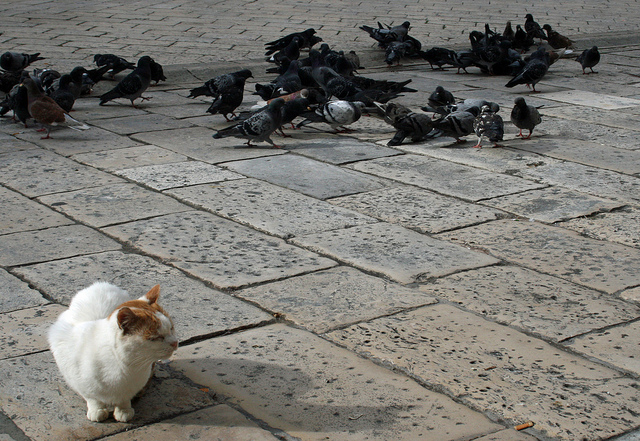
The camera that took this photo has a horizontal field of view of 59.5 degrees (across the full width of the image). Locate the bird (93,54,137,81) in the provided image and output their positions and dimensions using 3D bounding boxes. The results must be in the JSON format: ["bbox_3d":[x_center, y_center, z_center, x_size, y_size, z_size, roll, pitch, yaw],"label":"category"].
[{"bbox_3d":[-3.826,-2.919,10.544,0.886,0.330,0.297,4,32,5],"label":"bird"}]

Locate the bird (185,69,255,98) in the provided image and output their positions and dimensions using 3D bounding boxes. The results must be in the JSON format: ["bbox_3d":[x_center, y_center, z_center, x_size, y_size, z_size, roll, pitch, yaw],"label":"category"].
[{"bbox_3d":[-1.530,-2.105,8.786,1.266,0.359,0.285,1,23,13],"label":"bird"}]

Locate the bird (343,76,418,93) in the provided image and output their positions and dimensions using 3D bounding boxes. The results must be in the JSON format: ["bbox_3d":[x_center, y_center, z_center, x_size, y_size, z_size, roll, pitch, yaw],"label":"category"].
[{"bbox_3d":[0.940,-2.195,9.082,1.066,0.259,0.848,0,17,2],"label":"bird"}]

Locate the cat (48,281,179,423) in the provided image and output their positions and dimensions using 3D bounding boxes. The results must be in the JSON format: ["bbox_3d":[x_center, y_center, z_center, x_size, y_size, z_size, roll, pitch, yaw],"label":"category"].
[{"bbox_3d":[-0.941,0.782,3.024,0.749,0.512,0.846,4,-13,-7],"label":"cat"}]

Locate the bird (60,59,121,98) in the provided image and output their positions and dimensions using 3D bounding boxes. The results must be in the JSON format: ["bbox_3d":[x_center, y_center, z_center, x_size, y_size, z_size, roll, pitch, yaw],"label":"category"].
[{"bbox_3d":[-3.957,-2.546,10.458,0.656,1.094,0.349,-34,75,-11],"label":"bird"}]

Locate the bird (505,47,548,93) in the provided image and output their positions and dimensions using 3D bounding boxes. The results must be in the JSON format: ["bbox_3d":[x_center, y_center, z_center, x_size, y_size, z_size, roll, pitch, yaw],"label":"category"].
[{"bbox_3d":[3.782,-2.724,9.995,0.428,0.691,0.706,20,30,35],"label":"bird"}]

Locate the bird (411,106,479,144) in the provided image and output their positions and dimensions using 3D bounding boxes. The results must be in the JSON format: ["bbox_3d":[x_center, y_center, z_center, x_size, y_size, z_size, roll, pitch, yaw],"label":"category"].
[{"bbox_3d":[1.687,-1.264,7.505,0.804,0.470,0.534,3,22,9],"label":"bird"}]

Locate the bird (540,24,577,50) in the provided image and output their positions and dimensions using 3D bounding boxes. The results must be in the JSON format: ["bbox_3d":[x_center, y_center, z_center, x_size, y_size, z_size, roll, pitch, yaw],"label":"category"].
[{"bbox_3d":[5.980,-4.597,14.073,0.638,0.592,0.573,3,23,9],"label":"bird"}]

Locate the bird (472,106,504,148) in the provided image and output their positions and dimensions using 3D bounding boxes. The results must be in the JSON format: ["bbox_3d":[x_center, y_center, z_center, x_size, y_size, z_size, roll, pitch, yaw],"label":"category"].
[{"bbox_3d":[2.230,-1.209,7.368,0.409,0.484,0.564,5,23,12],"label":"bird"}]

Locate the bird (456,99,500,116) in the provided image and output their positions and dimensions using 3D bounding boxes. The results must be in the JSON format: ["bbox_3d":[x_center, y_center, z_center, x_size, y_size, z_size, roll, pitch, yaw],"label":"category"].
[{"bbox_3d":[2.183,-1.560,7.654,0.501,0.087,0.301,2,8,-36],"label":"bird"}]

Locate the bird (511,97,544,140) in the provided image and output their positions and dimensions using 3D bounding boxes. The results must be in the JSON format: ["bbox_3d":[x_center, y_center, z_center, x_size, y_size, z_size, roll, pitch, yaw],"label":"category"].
[{"bbox_3d":[2.815,-1.387,7.600,0.328,0.571,0.528,13,27,25],"label":"bird"}]

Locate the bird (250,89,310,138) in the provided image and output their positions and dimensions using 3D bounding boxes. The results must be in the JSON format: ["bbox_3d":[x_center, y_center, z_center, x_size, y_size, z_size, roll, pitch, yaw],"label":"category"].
[{"bbox_3d":[-0.660,-1.484,7.594,0.503,0.571,1.021,29,28,31],"label":"bird"}]

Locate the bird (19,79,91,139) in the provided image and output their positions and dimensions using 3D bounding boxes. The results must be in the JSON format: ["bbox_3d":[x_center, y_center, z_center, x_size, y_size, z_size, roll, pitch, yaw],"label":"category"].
[{"bbox_3d":[-3.478,-1.490,7.556,1.265,0.645,0.412,21,42,25],"label":"bird"}]

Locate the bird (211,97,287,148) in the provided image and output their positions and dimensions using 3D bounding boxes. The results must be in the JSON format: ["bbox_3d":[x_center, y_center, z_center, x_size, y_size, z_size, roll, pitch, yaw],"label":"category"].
[{"bbox_3d":[-0.854,-1.219,7.271,1.239,0.452,0.373,1,10,27],"label":"bird"}]

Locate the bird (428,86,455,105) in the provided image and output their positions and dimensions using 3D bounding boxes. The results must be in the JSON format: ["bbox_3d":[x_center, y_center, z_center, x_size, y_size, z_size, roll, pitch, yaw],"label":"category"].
[{"bbox_3d":[1.784,-1.814,8.151,0.348,0.252,0.216,2,24,5],"label":"bird"}]
